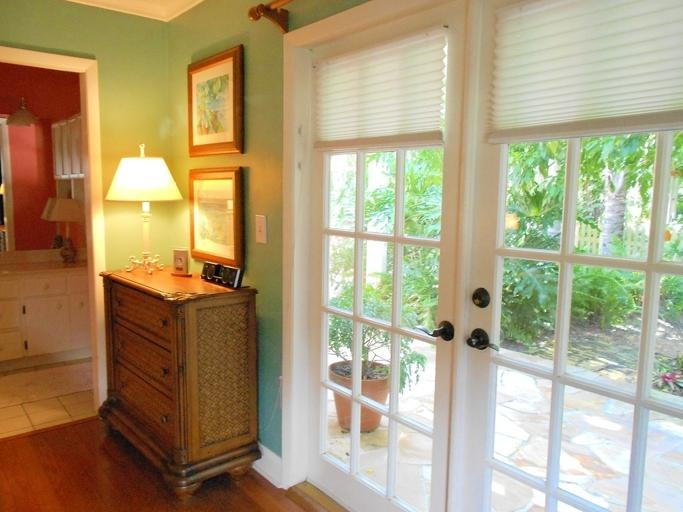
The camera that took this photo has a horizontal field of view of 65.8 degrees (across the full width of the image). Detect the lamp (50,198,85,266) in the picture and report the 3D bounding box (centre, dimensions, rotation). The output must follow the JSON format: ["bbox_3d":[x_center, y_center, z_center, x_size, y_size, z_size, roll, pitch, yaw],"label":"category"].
[{"bbox_3d":[-2.492,-0.248,4.779,0.271,0.565,0.416,-4,13,-27],"label":"lamp"}]

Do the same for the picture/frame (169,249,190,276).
[{"bbox_3d":[-1.013,0.040,3.284,0.182,0.206,0.068,0,1,21],"label":"picture/frame"}]

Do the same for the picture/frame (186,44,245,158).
[{"bbox_3d":[-0.740,-0.927,3.124,0.052,0.743,0.788,-3,3,-39],"label":"picture/frame"}]

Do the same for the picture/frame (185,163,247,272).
[{"bbox_3d":[-0.747,-0.240,3.178,0.047,0.641,0.675,-5,7,-42],"label":"picture/frame"}]

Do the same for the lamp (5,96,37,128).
[{"bbox_3d":[-2.741,-1.219,4.592,0.268,0.268,0.269,7,9,36],"label":"lamp"}]

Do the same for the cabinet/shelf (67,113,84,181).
[{"bbox_3d":[-2.356,-0.973,4.656,0.102,0.565,0.407,-6,14,-32],"label":"cabinet/shelf"}]

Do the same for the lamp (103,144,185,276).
[{"bbox_3d":[-1.288,-0.313,3.425,0.429,0.819,0.463,-3,12,-22],"label":"lamp"}]
